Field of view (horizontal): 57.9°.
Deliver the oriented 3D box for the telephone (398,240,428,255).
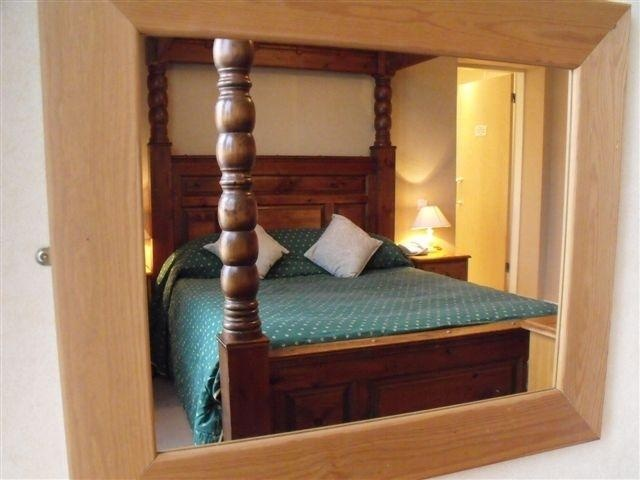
[{"bbox_3d":[0.609,0.053,3.768,0.144,0.044,0.104,-14,28,-39],"label":"telephone"}]
